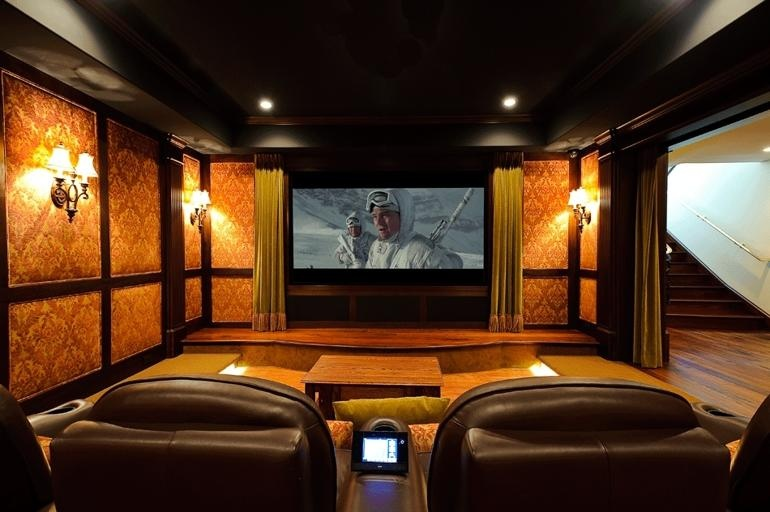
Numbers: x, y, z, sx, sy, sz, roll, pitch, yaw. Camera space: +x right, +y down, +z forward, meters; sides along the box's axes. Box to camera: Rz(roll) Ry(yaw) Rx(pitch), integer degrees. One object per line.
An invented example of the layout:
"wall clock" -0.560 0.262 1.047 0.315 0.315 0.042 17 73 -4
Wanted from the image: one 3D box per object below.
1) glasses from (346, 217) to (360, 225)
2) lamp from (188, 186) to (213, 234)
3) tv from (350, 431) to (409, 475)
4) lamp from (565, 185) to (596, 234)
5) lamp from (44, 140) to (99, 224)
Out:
"glasses" -0.436 -0.487 6.810 0.104 0.055 0.136 3 -18 1
"lamp" -2.390 -0.553 6.495 0.301 0.505 0.179 2 -2 -19
"tv" -0.026 1.164 3.062 0.341 0.236 0.182 1 -5 0
"lamp" 2.512 -0.623 6.501 0.281 0.495 0.433 3 2 3
"lamp" -2.980 -0.692 4.847 0.249 0.710 0.525 4 2 19
